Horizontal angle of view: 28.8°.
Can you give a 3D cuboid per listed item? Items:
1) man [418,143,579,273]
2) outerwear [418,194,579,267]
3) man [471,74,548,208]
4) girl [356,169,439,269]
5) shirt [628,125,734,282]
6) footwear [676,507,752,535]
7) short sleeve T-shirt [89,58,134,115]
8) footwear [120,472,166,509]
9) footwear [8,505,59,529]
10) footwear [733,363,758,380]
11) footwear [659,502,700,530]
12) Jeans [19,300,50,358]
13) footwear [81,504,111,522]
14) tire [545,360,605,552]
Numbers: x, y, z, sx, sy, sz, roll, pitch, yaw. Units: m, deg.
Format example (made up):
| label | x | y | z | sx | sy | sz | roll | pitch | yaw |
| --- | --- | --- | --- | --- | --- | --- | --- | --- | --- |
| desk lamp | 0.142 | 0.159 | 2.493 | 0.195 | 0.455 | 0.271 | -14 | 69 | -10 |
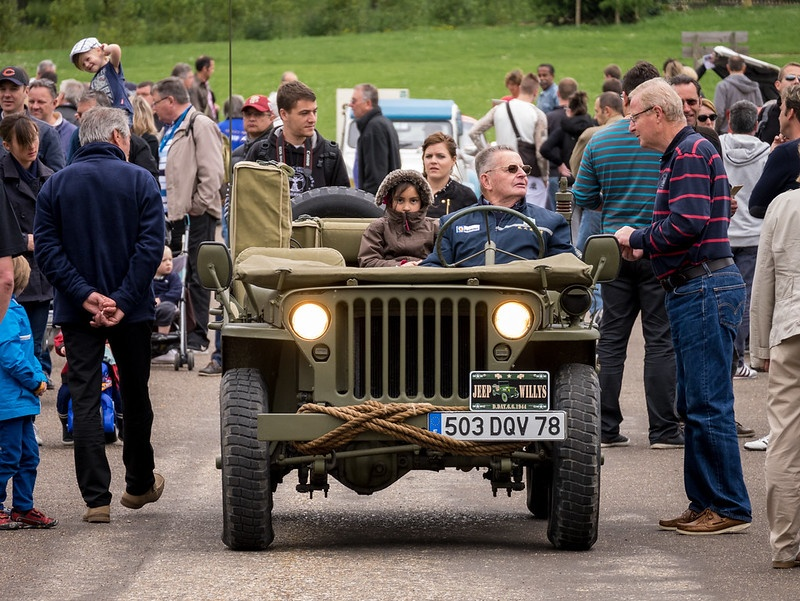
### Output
| label | x | y | z | sx | sy | sz | roll | pitch | yaw |
| --- | --- | --- | --- | --- | --- | --- | --- | --- | --- |
| man | 0.678 | -0.621 | 11.046 | 1.165 | 0.904 | 0.572 | 0 | -1 | 10 |
| outerwear | 0.746 | -0.346 | 10.952 | 1.080 | 0.454 | 0.838 | -5 | 29 | 1 |
| man | 1.536 | -1.880 | 20.913 | 1.004 | 2.149 | 0.691 | 6 | 24 | 19 |
| girl | 0.049 | -0.570 | 11.416 | 0.695 | 0.782 | 0.484 | 0 | 4 | -13 |
| shirt | 1.991 | -0.616 | 10.360 | 0.886 | 1.134 | 1.078 | -1 | 2 | 5 |
| footwear | 2.088 | 1.491 | 10.495 | 0.509 | 0.188 | 0.175 | 3 | -15 | 2 |
| short sleeve T-shirt | -2.790 | -1.972 | 15.353 | 0.255 | 0.773 | 0.393 | -21 | 25 | -40 |
| footwear | -1.775 | 1.351 | 10.973 | 0.153 | 0.180 | 0.385 | 19 | 35 | 19 |
| footwear | -2.491 | 1.483 | 10.661 | 0.355 | 0.162 | 0.121 | -1 | -1 | -4 |
| footwear | 3.255 | 0.685 | 14.742 | 0.268 | 0.115 | 0.103 | -1 | 3 | -15 |
| footwear | 1.880 | 1.477 | 10.541 | 0.333 | 0.134 | 0.111 | 0 | -3 | 3 |
| Jeans | -3.093 | 0.249 | 13.305 | 0.159 | 0.554 | 0.126 | 11 | -5 | -41 |
| footwear | -2.072 | 1.461 | 10.711 | 0.192 | 0.120 | 0.132 | -6 | 12 | -25 |
| tire | 1.122 | 1.046 | 10.067 | 0.335 | 1.136 | 0.432 | 0 | 11 | 5 |
